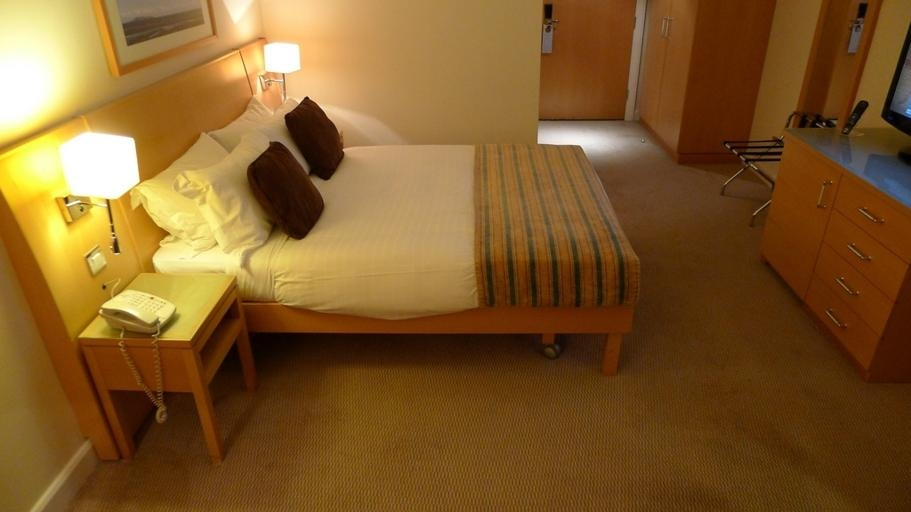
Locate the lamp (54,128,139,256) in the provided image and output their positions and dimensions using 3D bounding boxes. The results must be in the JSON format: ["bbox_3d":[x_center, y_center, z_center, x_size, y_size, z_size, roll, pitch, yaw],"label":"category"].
[{"bbox_3d":[-2.322,-0.403,3.978,0.411,0.768,0.319,-7,23,-28],"label":"lamp"}]

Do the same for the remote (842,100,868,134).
[{"bbox_3d":[3.357,-1.170,5.004,0.090,0.321,0.108,29,25,18],"label":"remote"}]

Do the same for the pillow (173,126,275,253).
[{"bbox_3d":[-1.650,-0.405,4.416,0.270,0.690,0.971,-27,23,22],"label":"pillow"}]

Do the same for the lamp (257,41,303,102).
[{"bbox_3d":[-1.785,-1.809,6.055,0.357,0.596,0.303,-3,22,-2],"label":"lamp"}]

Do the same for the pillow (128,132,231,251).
[{"bbox_3d":[-2.056,-0.418,4.409,0.198,0.738,0.789,-20,26,25],"label":"pillow"}]

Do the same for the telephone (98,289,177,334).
[{"bbox_3d":[-2.065,0.349,3.896,0.390,0.148,0.279,9,46,1],"label":"telephone"}]

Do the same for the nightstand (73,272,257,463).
[{"bbox_3d":[-2.018,0.745,4.352,0.921,0.950,0.997,-5,27,-11],"label":"nightstand"}]
